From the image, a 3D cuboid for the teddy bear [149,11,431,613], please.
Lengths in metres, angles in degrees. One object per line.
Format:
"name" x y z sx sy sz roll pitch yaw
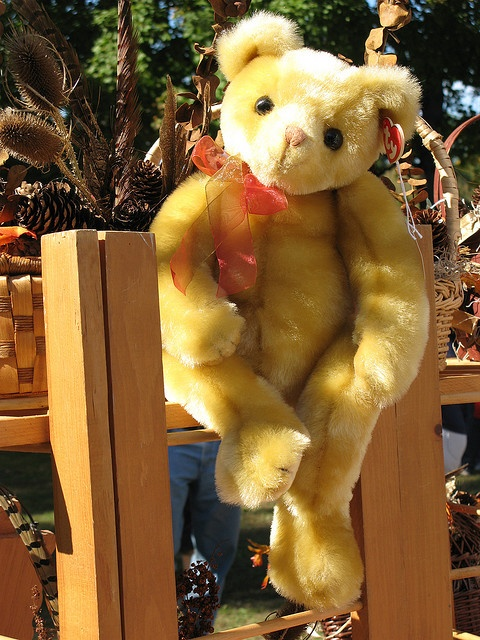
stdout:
"teddy bear" 0.068 -0.016 1.339 0.371 0.847 0.358 4 9 16
